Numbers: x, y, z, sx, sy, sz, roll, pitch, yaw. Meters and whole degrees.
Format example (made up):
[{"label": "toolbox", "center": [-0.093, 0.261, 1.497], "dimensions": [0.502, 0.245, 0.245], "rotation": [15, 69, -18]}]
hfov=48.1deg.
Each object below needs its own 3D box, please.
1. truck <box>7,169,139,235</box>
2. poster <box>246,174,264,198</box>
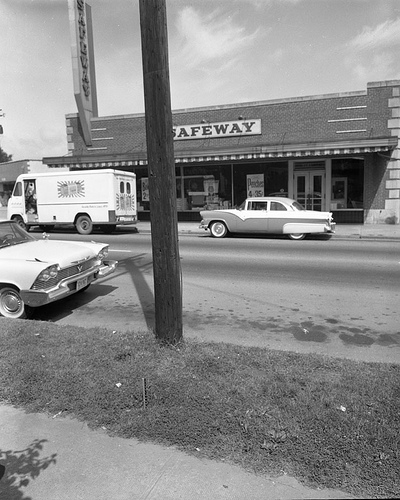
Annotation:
[{"label": "truck", "center": [-5.443, -2.046, 19.210], "dimensions": [4.912, 2.533, 2.636], "rotation": [2, 8, 14]}, {"label": "poster", "center": [2.880, -3.404, 23.726], "dimensions": [0.998, 1.186, 0.176], "rotation": [3, 7, 32]}]
